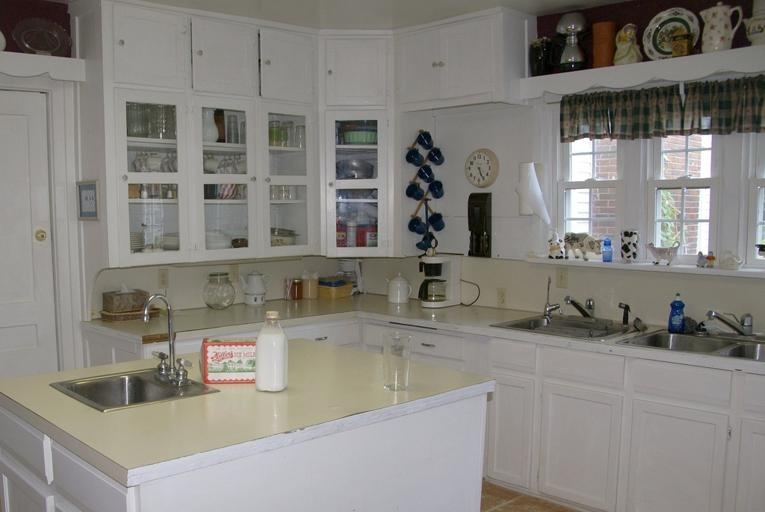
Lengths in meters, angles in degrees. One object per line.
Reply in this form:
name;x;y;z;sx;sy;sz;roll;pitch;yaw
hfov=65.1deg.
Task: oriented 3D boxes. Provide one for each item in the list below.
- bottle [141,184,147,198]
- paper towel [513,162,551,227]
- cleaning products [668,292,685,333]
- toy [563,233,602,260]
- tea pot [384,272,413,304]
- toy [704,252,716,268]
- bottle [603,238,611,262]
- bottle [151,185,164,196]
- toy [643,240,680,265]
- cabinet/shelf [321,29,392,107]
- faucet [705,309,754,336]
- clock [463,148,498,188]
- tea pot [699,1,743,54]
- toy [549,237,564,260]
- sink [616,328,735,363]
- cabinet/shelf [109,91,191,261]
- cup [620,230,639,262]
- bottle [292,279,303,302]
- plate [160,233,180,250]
bottle;-1.712;-0.463;4.290;0.043;0.101;0.010;-8;11;-41
paper towel;1.146;-0.472;4.553;0.248;0.487;0.153;2;8;15
cleaning products;1.952;0.375;3.983;0.098;0.238;0.211;3;8;25
toy;1.474;-0.073;4.430;0.269;0.192;0.182;2;8;20
tea pot;0.130;0.285;5.128;0.166;0.232;0.246;-3;7;-42
toy;2.153;0.021;3.949;0.062;0.098;0.152;4;8;29
bottle;1.615;-0.047;4.318;0.067;0.164;0.179;3;8;21
bottle;-1.622;-0.476;4.340;0.073;0.128;0.070;1;10;0
toy;1.916;-0.025;4.127;0.199;0.151;0.182;4;9;33
cabinet/shelf;-0.195;-1.555;4.869;0.619;0.578;0.240;1;6;5
faucet;2.213;0.417;3.832;0.255;0.143;0.202;3;8;28
clock;0.798;-0.713;4.864;0.293;0.320;0.071;7;11;44
tea pot;2.151;-1.455;3.819;0.263;0.333;0.212;-5;9;-32
toy;1.312;-0.063;4.531;0.114;0.153;0.184;2;8;16
sink;1.920;0.553;3.829;0.275;0.127;0.334;-7;9;-42
cabinet/shelf;-1.655;-0.583;4.313;0.515;1.191;0.157;-4;9;-21
cup;1.729;-0.070;4.215;0.101;0.218;0.088;1;8;9
bottle;-0.753;0.293;5.288;0.102;0.170;0.050;-6;10;-37
plate;-1.562;-0.103;4.408;0.120;0.115;0.111;2;0;-38
